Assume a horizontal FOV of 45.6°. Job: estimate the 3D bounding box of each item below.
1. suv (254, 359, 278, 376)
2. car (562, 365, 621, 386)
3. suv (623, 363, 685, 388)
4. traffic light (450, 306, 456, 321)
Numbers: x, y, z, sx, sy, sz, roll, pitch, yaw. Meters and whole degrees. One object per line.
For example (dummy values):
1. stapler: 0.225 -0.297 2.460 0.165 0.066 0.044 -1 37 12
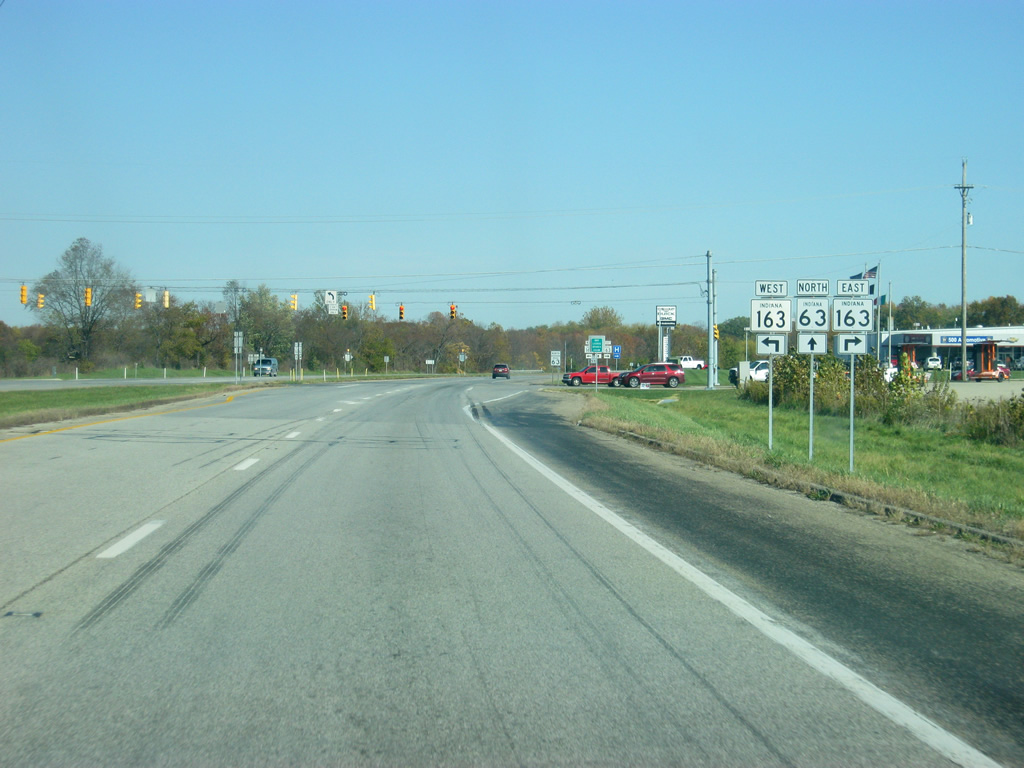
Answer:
1. suv: -18.452 -1.296 90.342 1.268 1.127 2.015 -1 -4 -6
2. car: 4.746 -0.652 71.875 2.763 1.069 1.449 2 -2 1
3. suv: 8.319 -0.475 70.370 2.906 1.321 1.609 2 -1 -4
4. traffic light: -3.226 -3.985 67.606 0.454 0.714 0.155 0 -4 -23
